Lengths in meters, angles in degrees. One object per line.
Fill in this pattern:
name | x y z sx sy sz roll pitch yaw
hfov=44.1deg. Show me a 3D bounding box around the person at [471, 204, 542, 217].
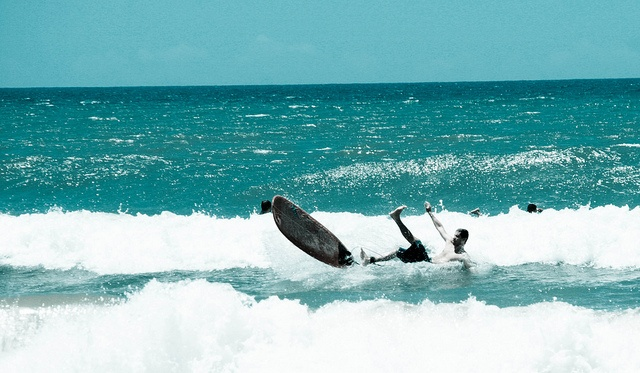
person | 8.106 0.988 33.562 3.093 0.870 0.477 0 -22 -18
